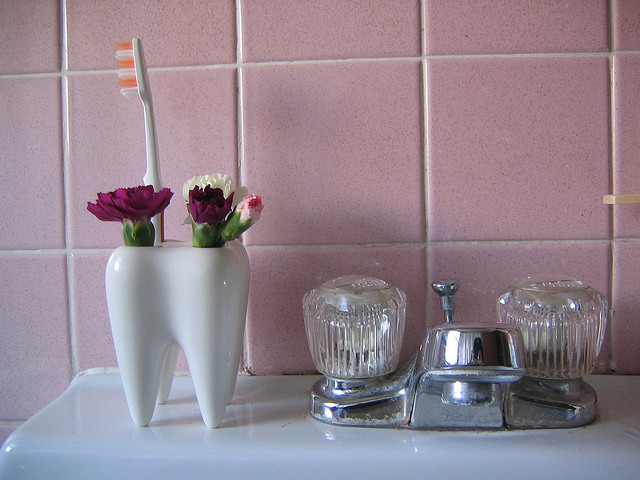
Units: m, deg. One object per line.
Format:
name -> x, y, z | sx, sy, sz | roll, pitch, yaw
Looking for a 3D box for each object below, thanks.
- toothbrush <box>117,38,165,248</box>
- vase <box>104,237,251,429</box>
toothbrush -> -0.194, -0.106, 0.698 | 0.034, 0.211, 0.154 | -6, 15, -15
vase -> -0.144, 0.104, 0.684 | 0.180, 0.193, 0.176 | 1, -3, -28
